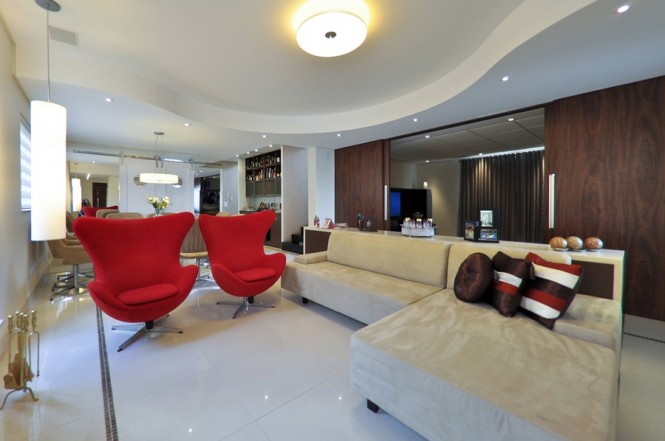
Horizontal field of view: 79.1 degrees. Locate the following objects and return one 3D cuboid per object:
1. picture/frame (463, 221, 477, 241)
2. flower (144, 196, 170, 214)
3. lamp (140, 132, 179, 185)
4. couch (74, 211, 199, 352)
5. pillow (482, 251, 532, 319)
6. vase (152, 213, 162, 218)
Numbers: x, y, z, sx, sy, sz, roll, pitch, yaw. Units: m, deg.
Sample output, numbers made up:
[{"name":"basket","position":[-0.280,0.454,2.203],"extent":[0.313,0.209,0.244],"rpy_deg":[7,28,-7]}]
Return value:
[{"name":"picture/frame","position":[1.964,0.155,5.722],"extent":[0.049,0.371,0.317],"rpy_deg":[2,-1,-24]},{"name":"flower","position":[-3.840,-0.314,8.727],"extent":[0.577,0.429,0.578],"rpy_deg":[0,1,-22]},{"name":"lamp","position":[-3.940,-1.360,9.096],"extent":[0.987,1.374,0.983],"rpy_deg":[0,-1,-15]},{"name":"couch","position":[-2.435,0.612,5.706],"extent":[1.845,2.048,1.560],"rpy_deg":[0,-2,-39]},{"name":"pillow","position":[2.022,0.787,4.641],"extent":[0.314,0.652,0.556],"rpy_deg":[23,-7,-35]},{"name":"vase","position":[-3.250,-0.087,7.394],"extent":[0.130,0.088,0.116],"rpy_deg":[-2,-3,44]}]
